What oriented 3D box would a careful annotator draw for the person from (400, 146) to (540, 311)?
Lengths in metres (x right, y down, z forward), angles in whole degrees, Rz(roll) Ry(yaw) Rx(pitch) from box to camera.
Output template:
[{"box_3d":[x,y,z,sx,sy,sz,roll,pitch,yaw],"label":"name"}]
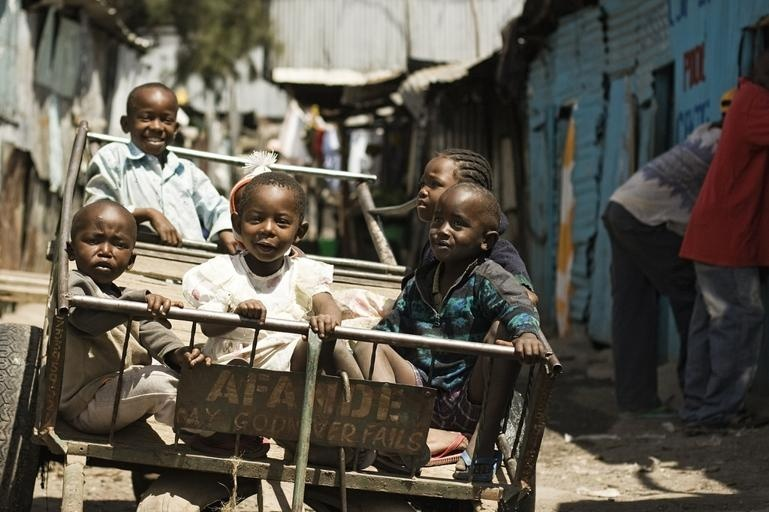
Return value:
[{"box_3d":[0.900,0.028,15.264,1.209,1.560,2.660,5,-4,-11],"label":"person"}]
